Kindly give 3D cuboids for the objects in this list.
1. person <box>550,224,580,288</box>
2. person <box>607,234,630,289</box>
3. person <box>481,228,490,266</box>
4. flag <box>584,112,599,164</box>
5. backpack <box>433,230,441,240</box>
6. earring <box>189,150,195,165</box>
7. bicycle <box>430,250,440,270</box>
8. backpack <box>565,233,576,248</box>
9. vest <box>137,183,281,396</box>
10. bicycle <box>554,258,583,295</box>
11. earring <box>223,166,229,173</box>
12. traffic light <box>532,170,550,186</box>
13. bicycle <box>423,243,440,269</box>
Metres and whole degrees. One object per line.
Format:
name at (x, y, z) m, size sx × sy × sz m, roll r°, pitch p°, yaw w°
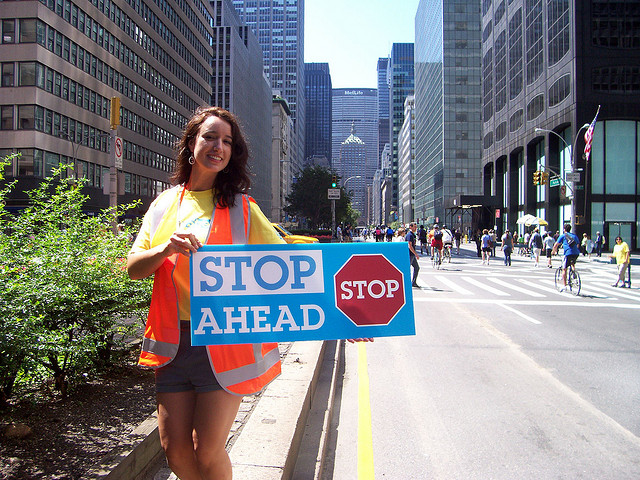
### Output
person at (7.360, 0.477, 15.205) m, size 0.728 × 1.944 × 1.012 m, roll 3°, pitch -7°, yaw 17°
person at (10.466, 0.724, 17.310) m, size 0.477 × 1.680 × 2.746 m, roll -1°, pitch 2°, yaw 31°
person at (9.245, 0.361, 27.728) m, size 0.402 × 1.777 × 2.575 m, roll -1°, pitch 2°, yaw 19°
flag at (18.918, -7.400, 34.674) m, size 0.800 × 3.378 × 6.923 m, roll -1°, pitch 2°, yaw 29°
backpack at (5.488, -0.264, 23.109) m, size 0.288 × 0.528 × 0.463 m, roll 0°, pitch -10°, yaw 1°
earring at (-0.945, -0.614, 3.641) m, size 0.024 × 0.089 × 0.123 m, roll -1°, pitch 1°, yaw -23°
bicycle at (5.495, 0.890, 23.552) m, size 0.299 × 0.908 × 1.592 m, roll -1°, pitch 2°, yaw 13°
backpack at (7.411, 0.015, 14.702) m, size 0.199 × 0.335 × 0.313 m, roll -10°, pitch -3°, yaw -4°
vest at (-0.775, 0.333, 3.447) m, size 0.915 × 1.331 × 0.366 m, roll -1°, pitch 1°, yaw 6°
bicycle at (7.799, 1.221, 15.207) m, size 0.610 × 0.958 × 1.385 m, roll 1°, pitch -9°, yaw 2°
earring at (-0.691, -0.519, 3.592) m, size 0.038 × 0.049 × 0.010 m, roll -2°, pitch -5°, yaw -13°
traffic light at (15.058, -4.389, 33.841) m, size 0.846 × 1.057 × 2.201 m, roll -1°, pitch 2°, yaw 20°
bicycle at (5.848, 0.827, 26.041) m, size 0.834 × 1.319 × 1.947 m, roll 1°, pitch -4°, yaw 3°
